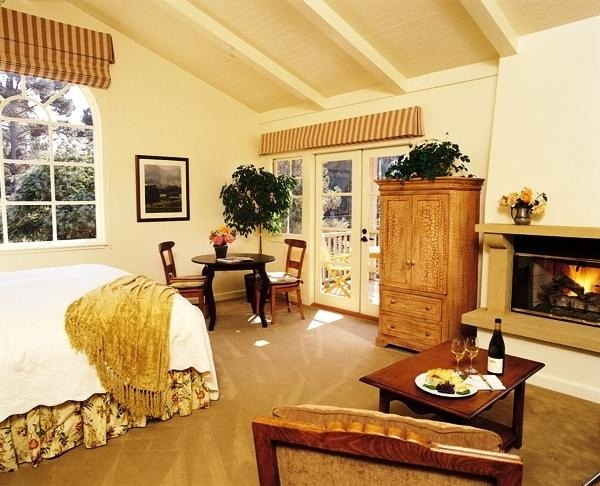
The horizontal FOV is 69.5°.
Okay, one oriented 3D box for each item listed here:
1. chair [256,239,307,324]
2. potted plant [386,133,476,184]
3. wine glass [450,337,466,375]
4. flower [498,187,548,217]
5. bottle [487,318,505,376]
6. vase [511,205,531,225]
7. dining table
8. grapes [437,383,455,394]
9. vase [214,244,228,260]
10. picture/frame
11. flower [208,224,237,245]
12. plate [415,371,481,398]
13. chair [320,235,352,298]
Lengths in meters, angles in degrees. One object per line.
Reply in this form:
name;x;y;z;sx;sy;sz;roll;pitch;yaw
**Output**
chair;-0.295;0.474;5.703;0.740;0.981;0.732;2;6;27
potted plant;1.366;-0.882;4.478;0.745;0.498;0.614;-4;7;-38
wine glass;1.069;0.731;2.921;0.083;0.232;0.301;2;6;20
flower;1.973;-0.369;3.819;0.291;0.249;0.290;0;-20;28
bottle;1.292;0.664;2.850;0.102;0.392;0.260;2;6;24
vase;1.985;-0.250;3.888;0.166;0.161;0.222;3;6;27
dining table;1.031;1.144;2.942;0.830;0.588;1.297;0;-1;40
grapes;0.872;0.874;2.604;0.072;0.023;0.053;-1;7;5
vase;-0.975;0.117;5.407;0.169;0.176;0.173;4;6;45
picture/frame;-1.915;-0.762;5.900;1.010;1.105;0.086;-3;2;-43
flower;-1.002;-0.085;5.485;0.272;0.219;0.245;-2;6;-18
plate;0.886;0.867;2.646;0.361;0.085;0.209;2;5;19
chair;0.508;0.349;6.268;0.606;0.792;0.567;4;-9;1
